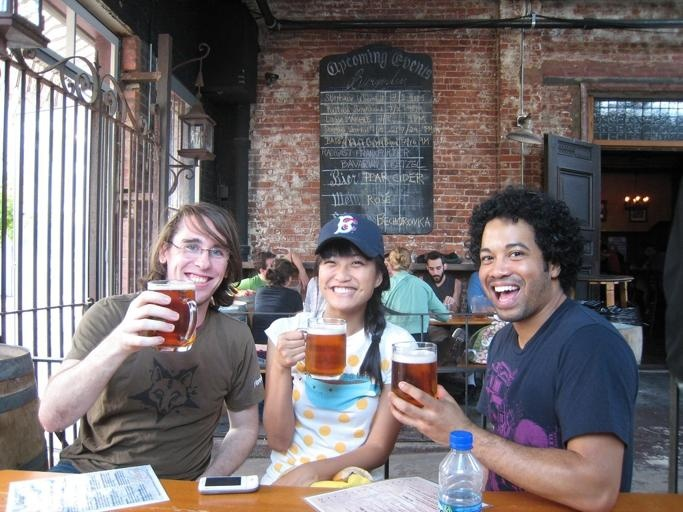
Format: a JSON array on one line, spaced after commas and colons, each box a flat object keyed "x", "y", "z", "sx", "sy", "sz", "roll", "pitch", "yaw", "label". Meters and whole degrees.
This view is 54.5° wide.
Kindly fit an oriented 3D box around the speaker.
[{"x": -1.099, "y": -2.006, "z": 6.511, "sx": 0.407, "sy": 0.932, "sz": 0.701, "roll": 1, "pitch": 0, "yaw": 3, "label": "speaker"}]

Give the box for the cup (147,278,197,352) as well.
[{"x": -0.648, "y": 0.231, "z": 2.532, "sx": 0.178, "sy": 0.273, "sz": 0.121, "roll": 1, "pitch": 0, "yaw": -18, "label": "cup"}]

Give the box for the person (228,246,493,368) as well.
[{"x": 0.143, "y": 0.321, "z": 4.007, "sx": 1.150, "sy": 0.839, "sz": 0.272, "roll": -1, "pitch": 4, "yaw": 15, "label": "person"}]

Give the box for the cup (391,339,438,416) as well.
[{"x": 0.272, "y": 0.442, "z": 2.473, "sx": 0.170, "sy": 0.219, "sz": 0.117, "roll": 1, "pitch": 0, "yaw": 9, "label": "cup"}]

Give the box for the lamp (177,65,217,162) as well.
[{"x": -1.207, "y": -1.038, "z": 5.498, "sx": 0.283, "sy": 0.700, "sz": 0.393, "roll": 1, "pitch": 0, "yaw": -14, "label": "lamp"}]

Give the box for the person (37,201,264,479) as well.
[{"x": -0.789, "y": 0.353, "z": 2.822, "sx": 0.709, "sy": 1.199, "sz": 0.728, "roll": 1, "pitch": 0, "yaw": 23, "label": "person"}]

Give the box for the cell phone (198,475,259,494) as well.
[{"x": -0.409, "y": 0.834, "z": 2.414, "sx": 0.155, "sy": 0.027, "sz": 0.086, "roll": 0, "pitch": -2, "yaw": -5, "label": "cell phone"}]

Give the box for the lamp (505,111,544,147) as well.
[{"x": 1.850, "y": -1.231, "z": 6.622, "sx": 0.380, "sy": 0.400, "sz": 0.373, "roll": 7, "pitch": 0, "yaw": -4, "label": "lamp"}]
